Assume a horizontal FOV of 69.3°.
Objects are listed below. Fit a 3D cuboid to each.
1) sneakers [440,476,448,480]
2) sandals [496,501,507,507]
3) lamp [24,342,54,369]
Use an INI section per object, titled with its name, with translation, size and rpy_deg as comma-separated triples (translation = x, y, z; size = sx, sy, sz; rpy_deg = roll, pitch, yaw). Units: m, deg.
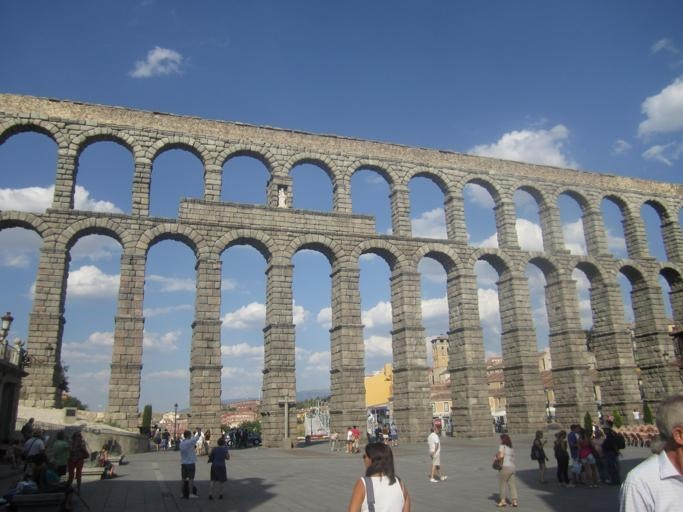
[sneakers]
translation = 3.499, 7.555, 16.794
size = 0.304, 0.134, 0.102
rpy_deg = -2, -6, -43
[sandals]
translation = 4.201, 6.484, 12.952
size = 0.264, 0.107, 0.100
rpy_deg = -4, -25, 18
[lamp]
translation = -15.798, 5.105, 25.958
size = 1.245, 1.317, 1.238
rpy_deg = 7, -21, -27
